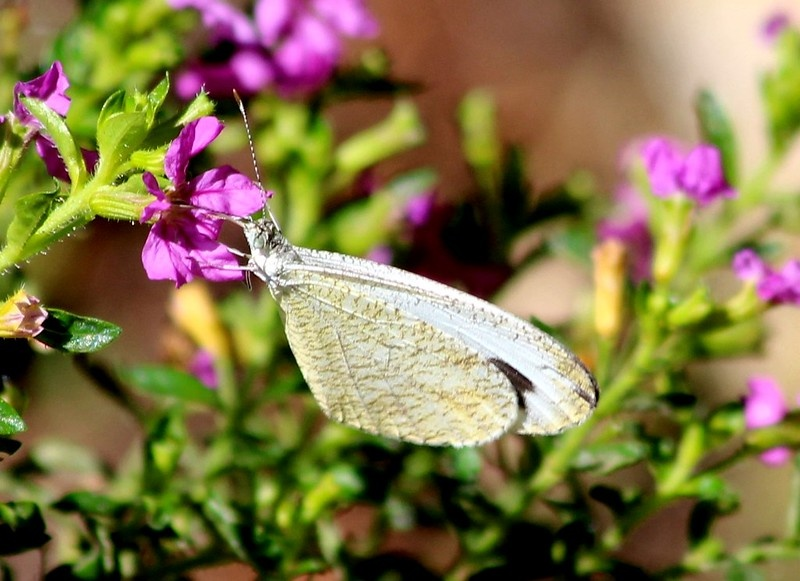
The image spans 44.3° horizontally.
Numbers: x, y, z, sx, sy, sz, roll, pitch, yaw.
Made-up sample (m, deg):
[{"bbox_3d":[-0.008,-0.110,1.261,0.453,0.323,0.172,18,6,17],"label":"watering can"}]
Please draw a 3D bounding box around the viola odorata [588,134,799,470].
[{"bbox_3d":[0.511,0.009,1.756,0.335,0.192,0.494,-2,100,-13],"label":"viola odorata"}]
